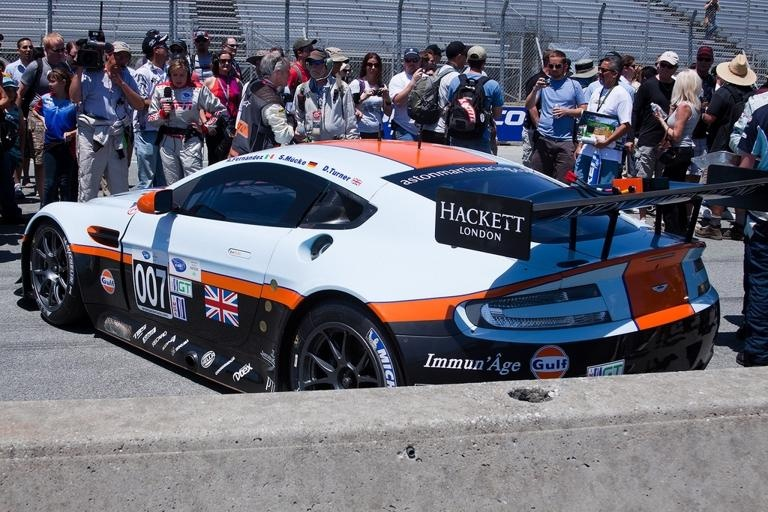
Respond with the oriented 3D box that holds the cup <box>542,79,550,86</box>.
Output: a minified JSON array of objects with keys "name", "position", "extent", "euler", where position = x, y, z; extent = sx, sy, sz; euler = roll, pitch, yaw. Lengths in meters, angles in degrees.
[{"name":"cup","position":[2.154,-2.300,10.030],"extent":[0.095,0.095,0.243],"euler":[5,16,16]}]

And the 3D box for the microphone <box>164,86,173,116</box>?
[{"name":"microphone","position":[-2.538,-1.843,8.872],"extent":[0.101,0.280,0.228],"euler":[-4,16,-17]}]

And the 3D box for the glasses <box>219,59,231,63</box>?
[{"name":"glasses","position":[-2.133,-2.618,10.128],"extent":[0.125,0.040,0.036],"euler":[-7,17,-25]}]

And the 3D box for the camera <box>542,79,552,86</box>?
[{"name":"camera","position":[2.158,-2.325,10.067],"extent":[0.051,0.109,0.111],"euler":[-7,11,-36]}]

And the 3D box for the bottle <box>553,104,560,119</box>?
[{"name":"bottle","position":[2.232,-1.861,9.758],"extent":[0.110,0.193,0.124],"euler":[1,8,3]}]

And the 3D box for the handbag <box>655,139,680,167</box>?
[{"name":"handbag","position":[3.819,-1.400,10.194],"extent":[0.241,0.445,0.252],"euler":[10,9,24]}]

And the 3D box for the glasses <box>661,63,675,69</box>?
[{"name":"glasses","position":[3.869,-2.597,10.285],"extent":[0.197,0.081,0.121],"euler":[6,16,18]}]

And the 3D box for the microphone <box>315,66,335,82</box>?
[{"name":"microphone","position":[-0.747,-2.276,9.460],"extent":[0.176,0.128,0.230],"euler":[23,44,35]}]

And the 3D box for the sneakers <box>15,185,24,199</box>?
[{"name":"sneakers","position":[-5.886,-1.013,12.182],"extent":[0.143,0.183,0.417],"euler":[-6,15,-35]}]

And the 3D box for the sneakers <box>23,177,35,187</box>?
[{"name":"sneakers","position":[-6.192,-1.275,13.149],"extent":[0.176,0.208,0.491],"euler":[-9,6,-30]}]

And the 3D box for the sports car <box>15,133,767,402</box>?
[{"name":"sports car","position":[-0.364,0.092,5.208],"extent":[3.718,1.119,2.188],"euler":[11,11,40]}]

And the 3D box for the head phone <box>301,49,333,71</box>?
[{"name":"head phone","position":[-0.816,-2.474,9.354],"extent":[0.244,0.184,0.350],"euler":[-3,-2,16]}]

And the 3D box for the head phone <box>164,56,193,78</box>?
[{"name":"head phone","position":[-2.477,-2.261,9.101],"extent":[0.206,0.270,0.279],"euler":[-9,46,-17]}]
